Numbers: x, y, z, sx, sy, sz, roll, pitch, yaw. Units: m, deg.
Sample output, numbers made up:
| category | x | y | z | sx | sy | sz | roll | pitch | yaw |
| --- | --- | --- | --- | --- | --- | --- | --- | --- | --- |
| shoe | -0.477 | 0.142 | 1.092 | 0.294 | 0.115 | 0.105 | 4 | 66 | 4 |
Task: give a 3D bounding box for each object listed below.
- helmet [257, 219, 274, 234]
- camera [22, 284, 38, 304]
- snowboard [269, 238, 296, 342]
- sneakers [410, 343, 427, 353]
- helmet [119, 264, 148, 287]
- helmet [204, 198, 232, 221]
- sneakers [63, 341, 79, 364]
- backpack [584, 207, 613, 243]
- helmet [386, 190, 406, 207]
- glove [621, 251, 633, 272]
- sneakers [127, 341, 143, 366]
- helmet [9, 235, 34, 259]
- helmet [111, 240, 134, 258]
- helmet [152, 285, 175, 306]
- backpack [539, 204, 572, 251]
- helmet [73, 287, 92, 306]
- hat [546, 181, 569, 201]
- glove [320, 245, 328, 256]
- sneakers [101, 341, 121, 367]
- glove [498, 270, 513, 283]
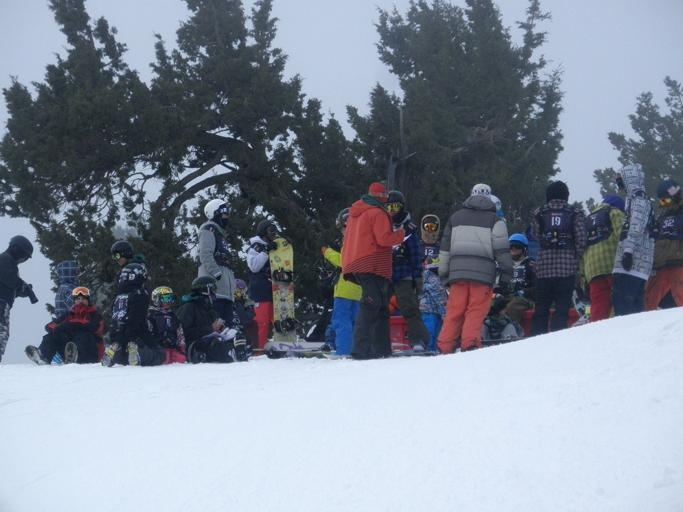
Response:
| category | x | y | z | sx | sy | sz | roll | pitch | yaw |
| --- | --- | --- | --- | --- | --- | --- | --- | --- | --- |
| helmet | -1.221 | -0.449 | 15.055 | 0.276 | 0.263 | 0.289 | 0 | -5 | -7 |
| camera | -4.693 | 0.565 | 14.011 | 0.161 | 0.281 | 0.173 | 1 | -5 | -14 |
| snowboard | -0.944 | 0.522 | 14.730 | 0.392 | 1.647 | 0.447 | -1 | -5 | 5 |
| sneakers | 1.037 | 1.218 | 12.446 | 0.196 | 0.124 | 0.084 | -1 | -5 | 5 |
| helmet | -2.902 | 0.243 | 12.954 | 0.326 | 0.345 | 0.279 | 9 | -11 | -16 |
| helmet | -1.874 | -0.703 | 14.043 | 0.341 | 0.341 | 0.386 | 0 | -5 | -7 |
| sneakers | -4.006 | 1.431 | 13.789 | 0.131 | 0.393 | 0.148 | 2 | 13 | -7 |
| backpack | 3.598 | -0.424 | 12.953 | 0.349 | 0.568 | 0.259 | -3 | -6 | 30 |
| helmet | 0.756 | -0.808 | 13.024 | 0.187 | 0.269 | 0.257 | 3 | 6 | 16 |
| glove | 3.758 | 0.068 | 12.261 | 0.137 | 0.234 | 0.072 | -2 | -5 | 22 |
| sneakers | -2.827 | 1.333 | 12.655 | 0.123 | 0.374 | 0.169 | -1 | -5 | -7 |
| helmet | -4.794 | -0.122 | 13.946 | 0.365 | 0.346 | 0.396 | 3 | -6 | -34 |
| helmet | -3.195 | -0.095 | 13.556 | 0.211 | 0.274 | 0.279 | 2 | 15 | -12 |
| helmet | -2.653 | 0.587 | 13.714 | 0.280 | 0.296 | 0.454 | 1 | -5 | -15 |
| backpack | 2.942 | -0.347 | 12.841 | 0.486 | 0.720 | 0.392 | 2 | -9 | 10 |
| helmet | -3.999 | 0.610 | 14.262 | 0.211 | 0.332 | 0.240 | -2 | 0 | -7 |
| hat | 2.966 | -0.901 | 12.816 | 0.280 | 0.307 | 0.407 | -1 | -5 | 10 |
| glove | -0.299 | -0.087 | 15.502 | 0.122 | 0.180 | 0.074 | 8 | 24 | 16 |
| sneakers | -3.151 | 1.339 | 12.734 | 0.167 | 0.385 | 0.167 | 16 | -5 | -26 |
| glove | 2.146 | 0.285 | 12.267 | 0.165 | 0.215 | 0.204 | 7 | 10 | 0 |
